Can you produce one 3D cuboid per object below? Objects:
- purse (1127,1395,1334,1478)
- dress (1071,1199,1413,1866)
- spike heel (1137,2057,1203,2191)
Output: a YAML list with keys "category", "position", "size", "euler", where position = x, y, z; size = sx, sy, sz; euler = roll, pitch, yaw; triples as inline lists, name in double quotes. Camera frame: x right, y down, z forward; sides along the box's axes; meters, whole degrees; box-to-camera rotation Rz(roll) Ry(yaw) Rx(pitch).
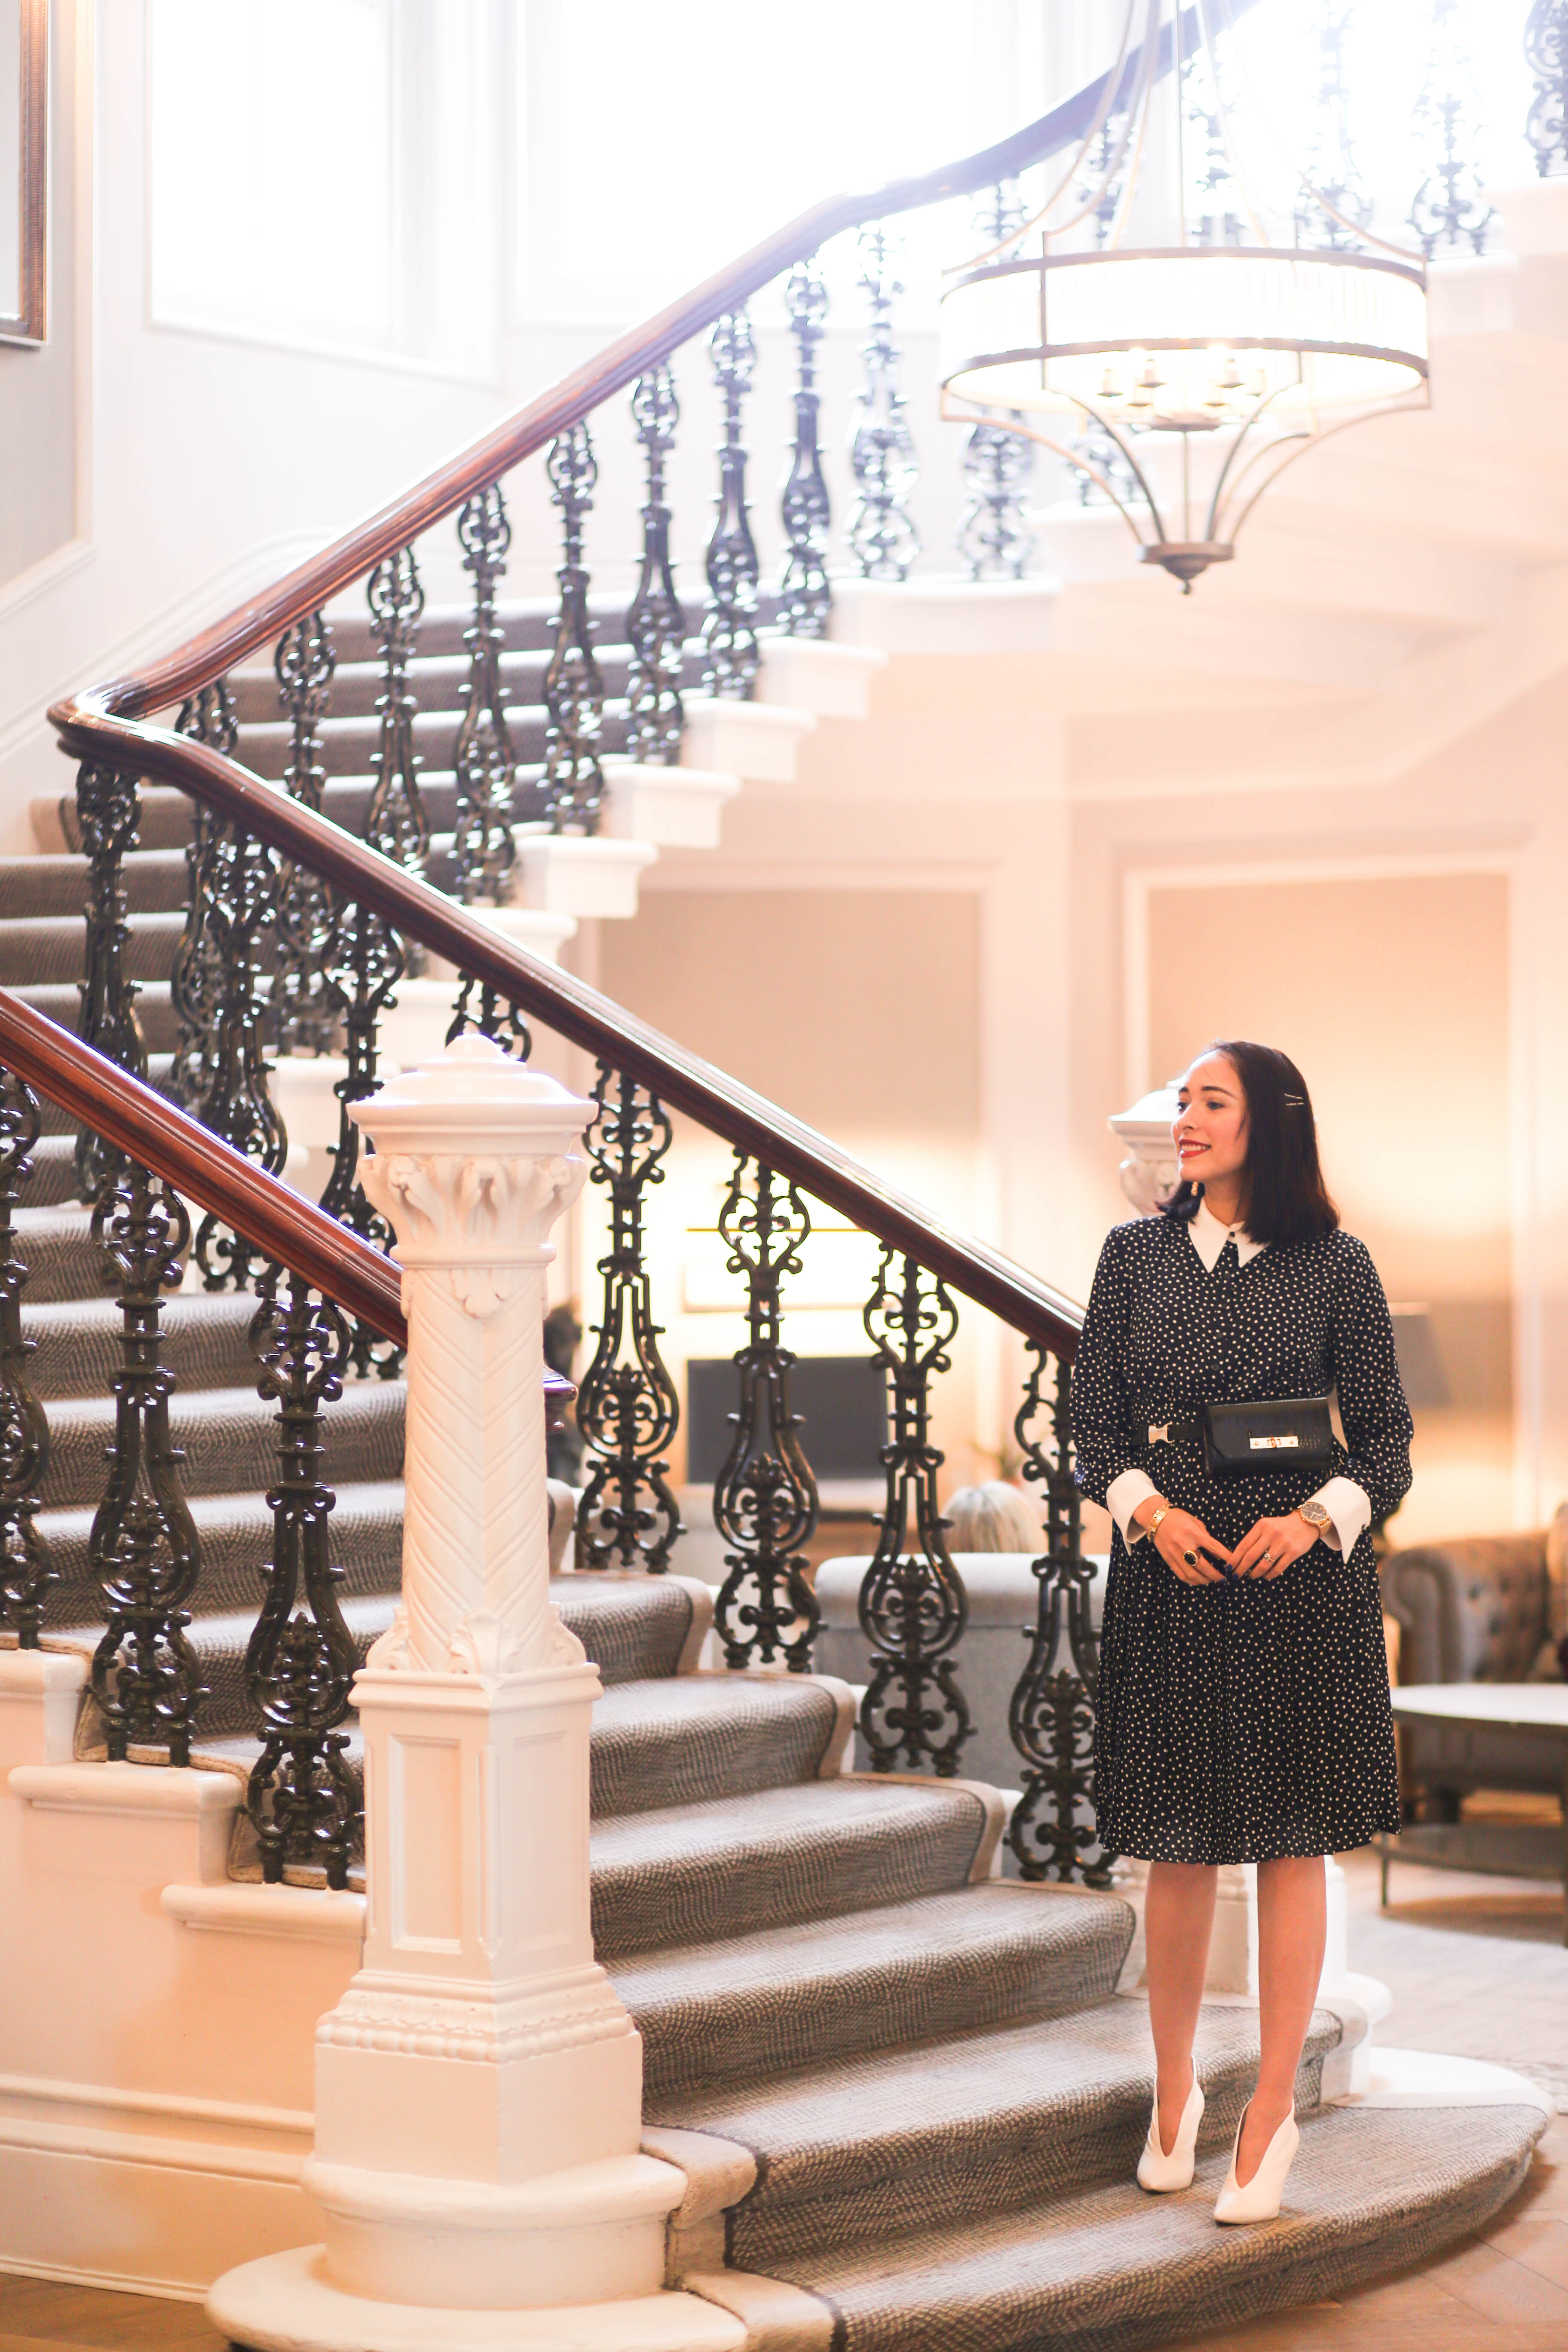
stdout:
- category: "purse"
  position: [0.550, 0.317, 3.432]
  size: [0.245, 0.096, 0.145]
  euler: [1, -2, 22]
- category: "dress"
  position: [0.556, 0.442, 3.467]
  size: [0.407, 0.788, 0.215]
  euler: [1, -1, 10]
- category: "spike heel"
  position: [0.503, 1.231, 3.643]
  size: [0.080, 0.174, 0.063]
  euler: [3, 10, -15]
